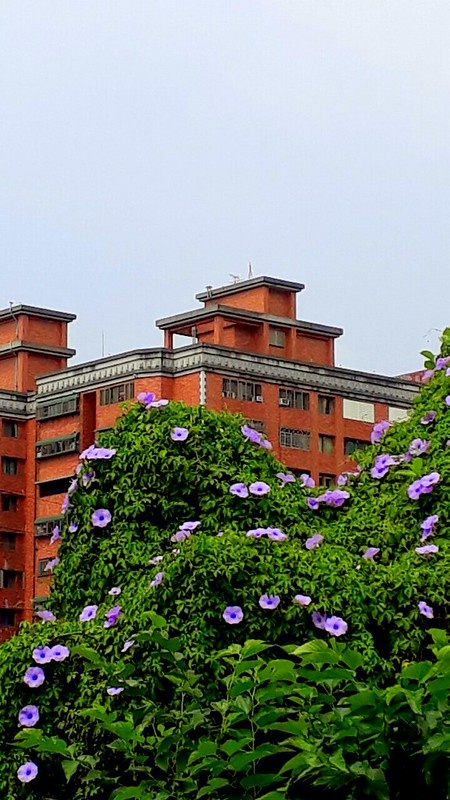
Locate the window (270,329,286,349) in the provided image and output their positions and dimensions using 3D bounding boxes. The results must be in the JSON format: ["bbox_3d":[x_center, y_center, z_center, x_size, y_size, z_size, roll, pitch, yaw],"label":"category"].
[{"bbox_3d":[2.138,-2.520,59.611,0.072,0.597,0.827,-4,-4,32],"label":"window"}]

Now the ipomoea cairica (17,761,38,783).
[{"bbox_3d":[-1.601,2.996,11.710,0.163,0.180,0.264,0,-11,-7],"label":"ipomoea cairica"}]

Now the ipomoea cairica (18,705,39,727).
[{"bbox_3d":[-1.631,2.603,11.998,0.171,0.177,0.189,-1,-11,-5],"label":"ipomoea cairica"}]
